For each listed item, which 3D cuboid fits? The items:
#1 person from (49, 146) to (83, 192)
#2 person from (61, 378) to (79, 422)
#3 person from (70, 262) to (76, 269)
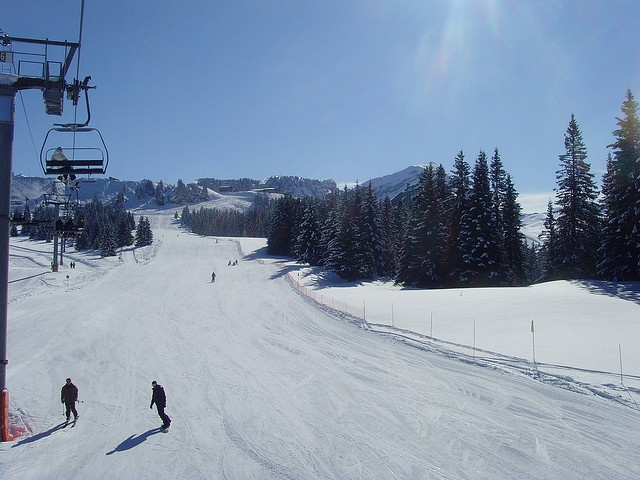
[{"bbox_3d":[-12.458,-3.774,26.735,0.916,2.339,1.227,-10,13,20],"label":"person"},{"bbox_3d":[-13.179,8.401,28.162,0.774,2.321,0.807,-2,4,-27],"label":"person"},{"bbox_3d":[-33.157,3.374,71.747,0.630,1.436,0.323,-6,-2,7],"label":"person"}]
